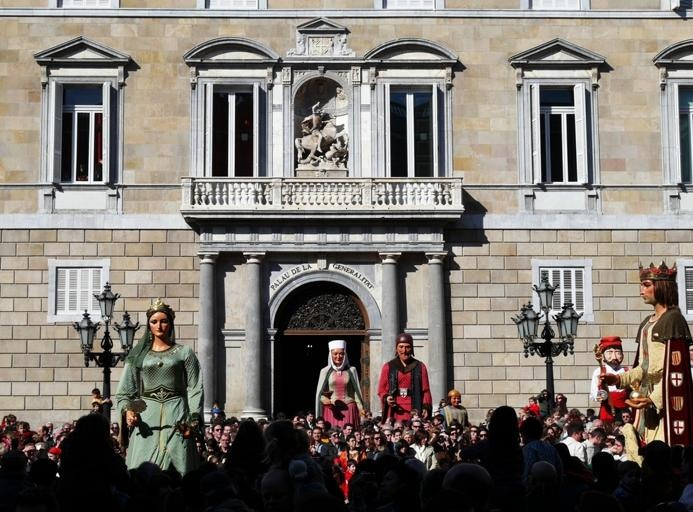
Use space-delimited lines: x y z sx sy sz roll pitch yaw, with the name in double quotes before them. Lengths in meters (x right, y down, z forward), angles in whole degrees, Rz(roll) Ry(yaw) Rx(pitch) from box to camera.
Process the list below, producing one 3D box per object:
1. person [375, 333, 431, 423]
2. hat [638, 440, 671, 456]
"person" 1.392 3.417 55.950 1.470 2.701 1.000 1 2 -9
"hat" 6.512 4.058 48.039 0.536 0.344 0.444 -3 -7 14
